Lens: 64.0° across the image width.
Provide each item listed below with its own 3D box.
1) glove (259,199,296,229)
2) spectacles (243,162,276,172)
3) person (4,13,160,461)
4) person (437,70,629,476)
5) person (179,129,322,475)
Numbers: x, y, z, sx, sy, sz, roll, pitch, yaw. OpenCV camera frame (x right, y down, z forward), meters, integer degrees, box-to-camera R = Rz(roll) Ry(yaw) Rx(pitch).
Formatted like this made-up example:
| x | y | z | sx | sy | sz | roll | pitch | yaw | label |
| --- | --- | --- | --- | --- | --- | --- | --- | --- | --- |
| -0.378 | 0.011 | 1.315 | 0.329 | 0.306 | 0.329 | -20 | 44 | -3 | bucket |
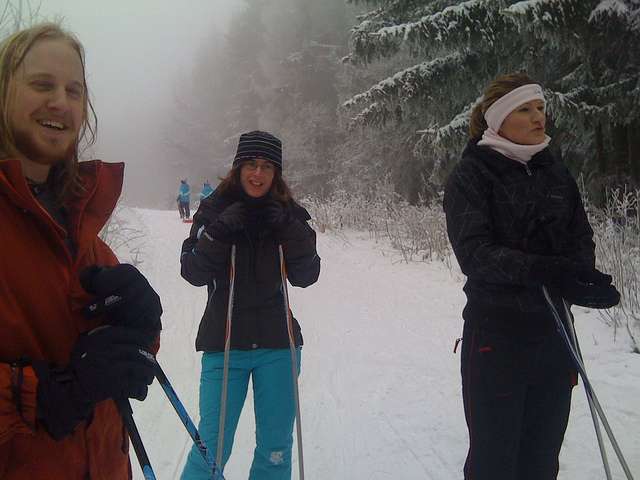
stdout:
| x | y | z | sx | sy | sz | roll | pitch | yaw | label |
| --- | --- | --- | --- | --- | --- | --- | --- | --- | --- |
| -0.348 | -0.221 | 4.156 | 0.253 | 0.120 | 0.214 | 19 | 40 | 16 | glove |
| -0.505 | -0.603 | 4.237 | 0.255 | 0.072 | 0.055 | 1 | 8 | -12 | spectacles |
| -1.258 | -0.005 | 2.756 | 0.741 | 2.404 | 0.883 | 0 | 8 | -19 | person |
| 1.297 | 0.224 | 3.344 | 0.979 | 2.582 | 0.725 | 4 | 8 | 15 | person |
| -0.528 | 0.432 | 3.980 | 1.031 | 2.548 | 1.062 | 2 | 8 | 0 | person |
